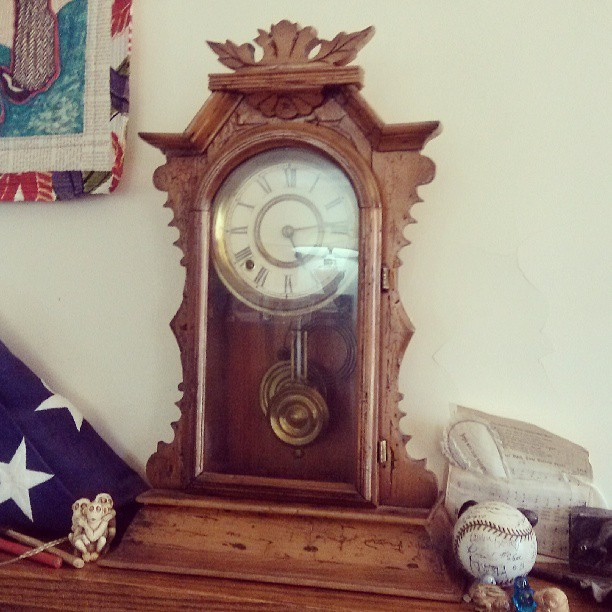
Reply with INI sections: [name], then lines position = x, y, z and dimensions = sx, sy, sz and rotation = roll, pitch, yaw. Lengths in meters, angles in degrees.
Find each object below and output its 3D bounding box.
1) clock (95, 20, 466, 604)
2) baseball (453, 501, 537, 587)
[clock]
position = -0.037, -0.013, 1.753
dimensions = 0.635, 0.438, 0.903
rotation = 0, -76, -1
[baseball]
position = 0.321, 0.402, 1.667
dimensions = 0.120, 0.141, 0.144
rotation = 2, -88, -1
